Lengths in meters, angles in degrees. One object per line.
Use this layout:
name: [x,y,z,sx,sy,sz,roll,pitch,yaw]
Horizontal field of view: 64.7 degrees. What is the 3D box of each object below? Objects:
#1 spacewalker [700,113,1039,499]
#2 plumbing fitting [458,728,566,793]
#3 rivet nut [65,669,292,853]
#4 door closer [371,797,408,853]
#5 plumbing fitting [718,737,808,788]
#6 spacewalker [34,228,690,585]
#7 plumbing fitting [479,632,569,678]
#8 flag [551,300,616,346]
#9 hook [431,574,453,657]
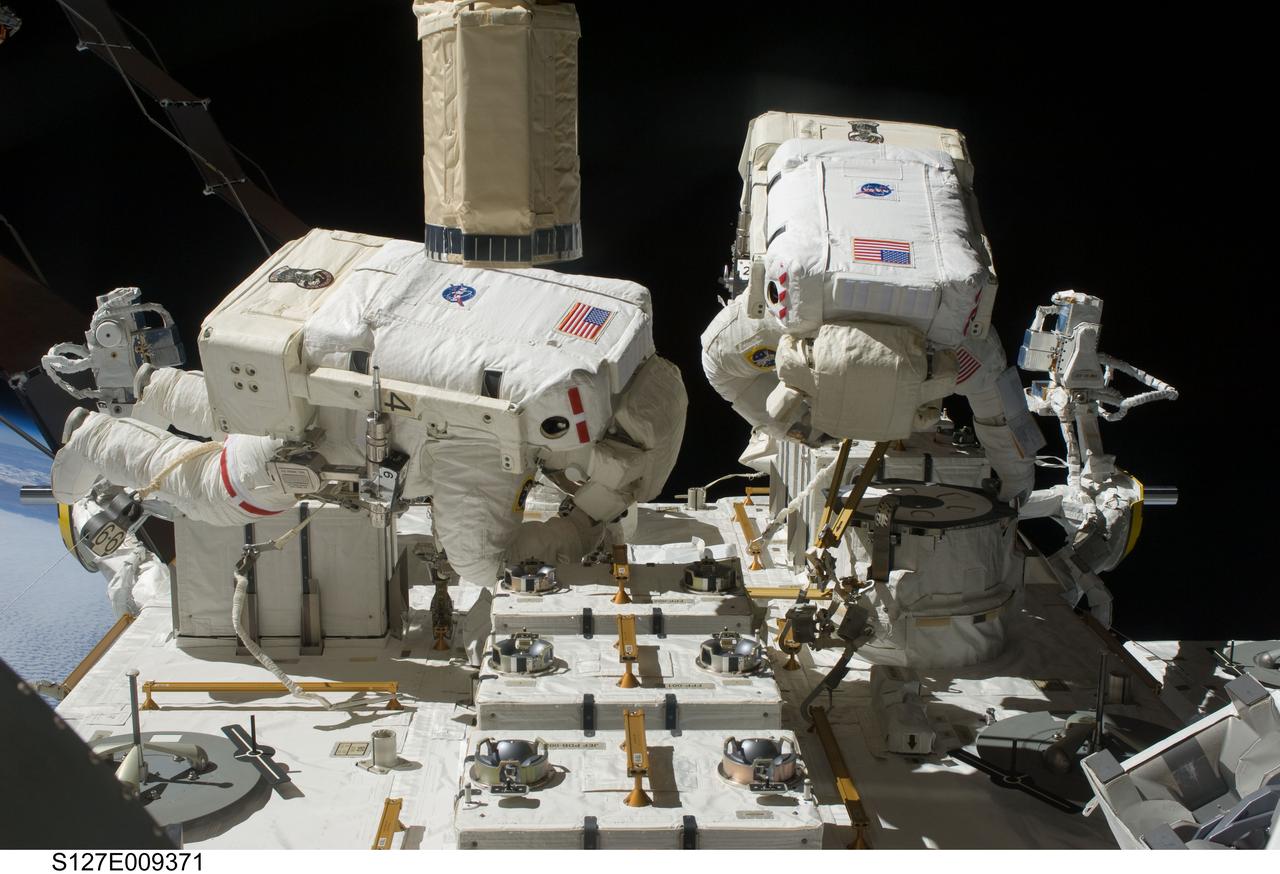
spacewalker: [1.582,-0.811,7.960,2.929,2.799,2.949,3,37,5]
plumbing fitting: [-0.727,1.867,5.820,0.563,0.203,0.391,-3,28,-7]
rivet nut: [-2.995,1.935,6.665,0.979,1.101,1.054,-23,36,-36]
door closer: [-1.637,2.493,6.554,0.203,0.146,0.526,-5,28,-10]
plumbing fitting: [0.712,1.884,5.870,0.330,0.131,0.312,-1,13,-1]
spacewalker: [-1.849,-0.391,8.080,5.354,2.246,2.463,10,40,1]
plumbing fitting: [-0.773,1.433,6.637,0.342,0.110,0.323,0,14,-3]
flag: [-0.404,-0.859,7.491,0.302,0.188,0.430,9,28,15]
hook: [-1.659,1.484,8.412,0.175,0.587,0.292,-7,30,-13]
